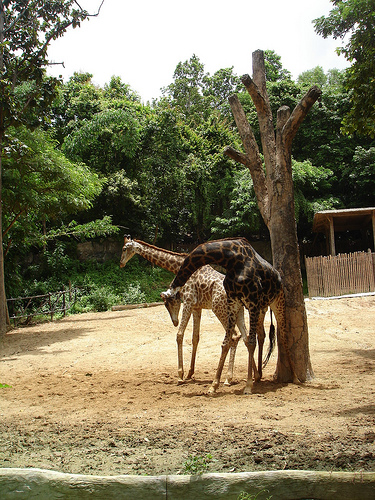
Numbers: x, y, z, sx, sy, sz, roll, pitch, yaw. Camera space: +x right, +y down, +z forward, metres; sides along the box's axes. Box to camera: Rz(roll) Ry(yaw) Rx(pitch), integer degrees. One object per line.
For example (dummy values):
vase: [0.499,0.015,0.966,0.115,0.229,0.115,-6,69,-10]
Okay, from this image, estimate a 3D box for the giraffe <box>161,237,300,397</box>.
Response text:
giraffe: [0.709,0.925,6.724,0.743,2.152,2.903,-7,-12,40]
